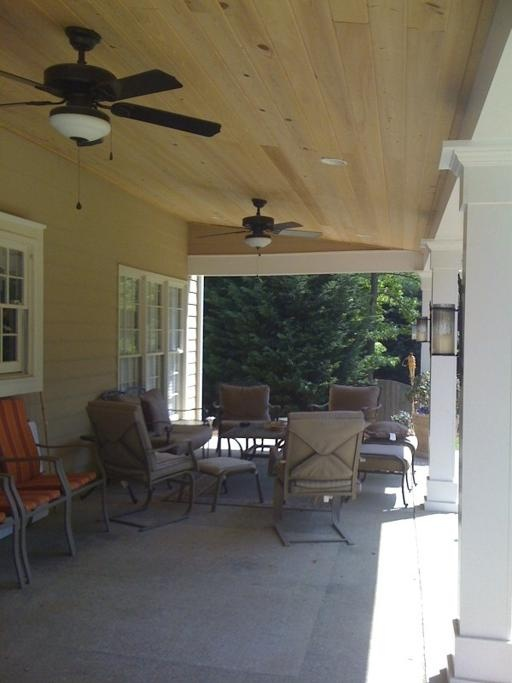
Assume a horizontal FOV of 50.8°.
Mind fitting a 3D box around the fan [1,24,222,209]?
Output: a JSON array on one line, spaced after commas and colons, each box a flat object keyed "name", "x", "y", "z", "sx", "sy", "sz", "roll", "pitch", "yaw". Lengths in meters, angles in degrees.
[{"name": "fan", "x": -0.681, "y": -1.084, "z": 2.519, "sx": 0.803, "sy": 0.339, "sz": 0.739, "roll": 2, "pitch": 6, "yaw": -5}]

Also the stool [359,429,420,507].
[{"name": "stool", "x": 1.410, "y": 1.268, "z": 5.806, "sx": 0.632, "sy": 0.757, "sz": 0.738, "roll": 2, "pitch": 2, "yaw": 13}]

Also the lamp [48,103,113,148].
[{"name": "lamp", "x": -0.815, "y": -0.982, "z": 2.528, "sx": 0.272, "sy": 0.229, "sz": 0.252, "roll": 1, "pitch": 3, "yaw": -26}]

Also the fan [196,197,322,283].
[{"name": "fan", "x": 0.059, "y": -1.269, "z": 6.453, "sx": 1.588, "sy": 0.869, "sz": 1.508, "roll": -2, "pitch": 6, "yaw": -32}]
